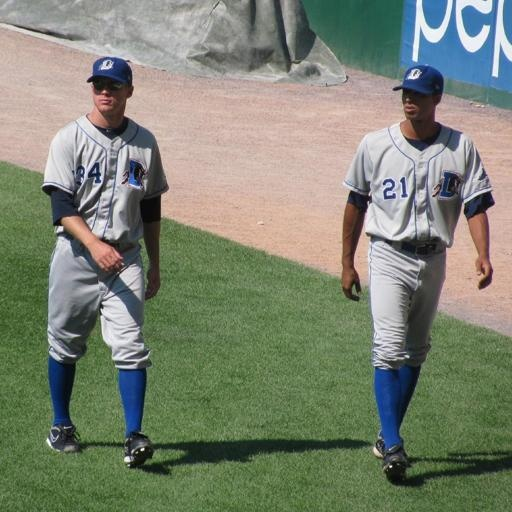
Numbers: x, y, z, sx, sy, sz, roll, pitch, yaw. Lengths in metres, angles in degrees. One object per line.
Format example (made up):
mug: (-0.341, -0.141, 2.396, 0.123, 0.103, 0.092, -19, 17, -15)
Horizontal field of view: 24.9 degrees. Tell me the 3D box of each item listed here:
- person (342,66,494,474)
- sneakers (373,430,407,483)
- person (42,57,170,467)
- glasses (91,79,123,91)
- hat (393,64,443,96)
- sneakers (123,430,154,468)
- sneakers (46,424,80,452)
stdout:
person: (1.057, 0.018, 7.586, 0.812, 2.476, 0.858, -3, 14, -30)
sneakers: (0.851, 1.269, 7.349, 0.112, 0.173, 0.327, 2, 24, -7)
person: (-0.978, 0.029, 7.322, 0.782, 2.496, 0.874, 3, 12, -5)
glasses: (-0.936, -1.066, 7.236, 0.111, 0.089, 0.193, 0, 12, -4)
hat: (1.049, -1.099, 7.426, 0.271, 0.172, 0.190, 10, 4, -38)
sneakers: (-0.743, 1.227, 7.237, 0.162, 0.268, 0.259, 1, 13, -14)
sneakers: (-1.241, 1.189, 7.460, 0.102, 0.125, 0.272, 4, 30, -22)
